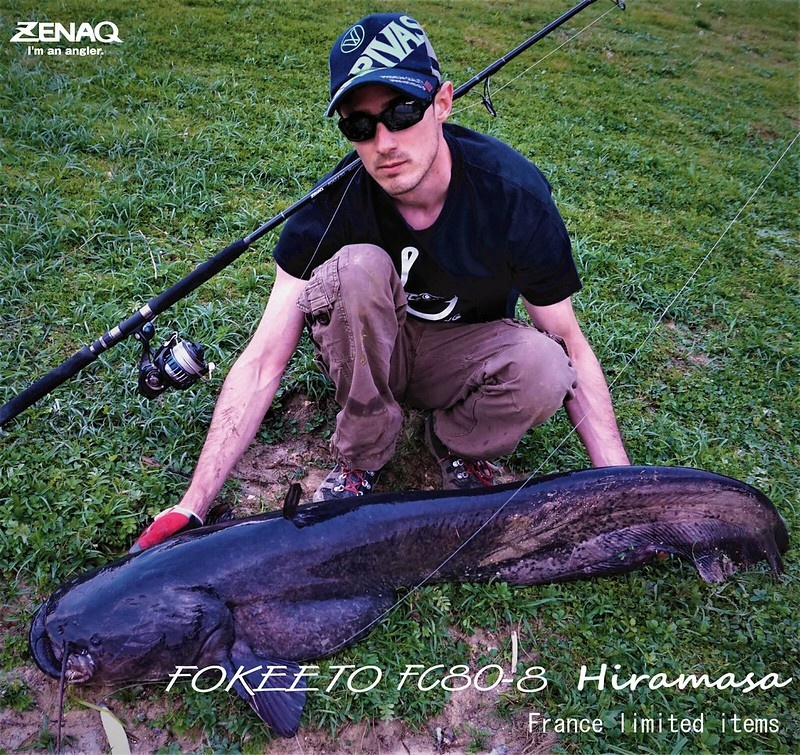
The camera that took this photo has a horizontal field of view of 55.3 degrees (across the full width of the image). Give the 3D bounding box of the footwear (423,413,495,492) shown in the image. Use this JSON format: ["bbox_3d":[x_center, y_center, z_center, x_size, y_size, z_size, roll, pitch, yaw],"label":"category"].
[{"bbox_3d":[0.279,0.374,3.406,0.158,0.186,0.432,-36,67,-8],"label":"footwear"}]

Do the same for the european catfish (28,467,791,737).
[{"bbox_3d":[0.006,0.721,2.941,2.365,0.615,1.117,-6,42,-2],"label":"european catfish"}]

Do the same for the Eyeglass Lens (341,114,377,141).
[{"bbox_3d":[-0.153,-0.944,2.897,0.111,0.048,0.113,-8,8,6],"label":"Eyeglass Lens"}]

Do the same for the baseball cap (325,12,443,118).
[{"bbox_3d":[-0.043,-1.179,2.937,0.335,0.236,0.473,-7,9,20],"label":"baseball cap"}]

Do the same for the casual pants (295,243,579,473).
[{"bbox_3d":[0.095,-0.038,3.310,1.146,0.860,0.663,9,22,-2],"label":"casual pants"}]

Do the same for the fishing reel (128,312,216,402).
[{"bbox_3d":[-0.996,-0.038,3.173,0.326,0.207,0.234,0,28,32],"label":"fishing reel"}]
